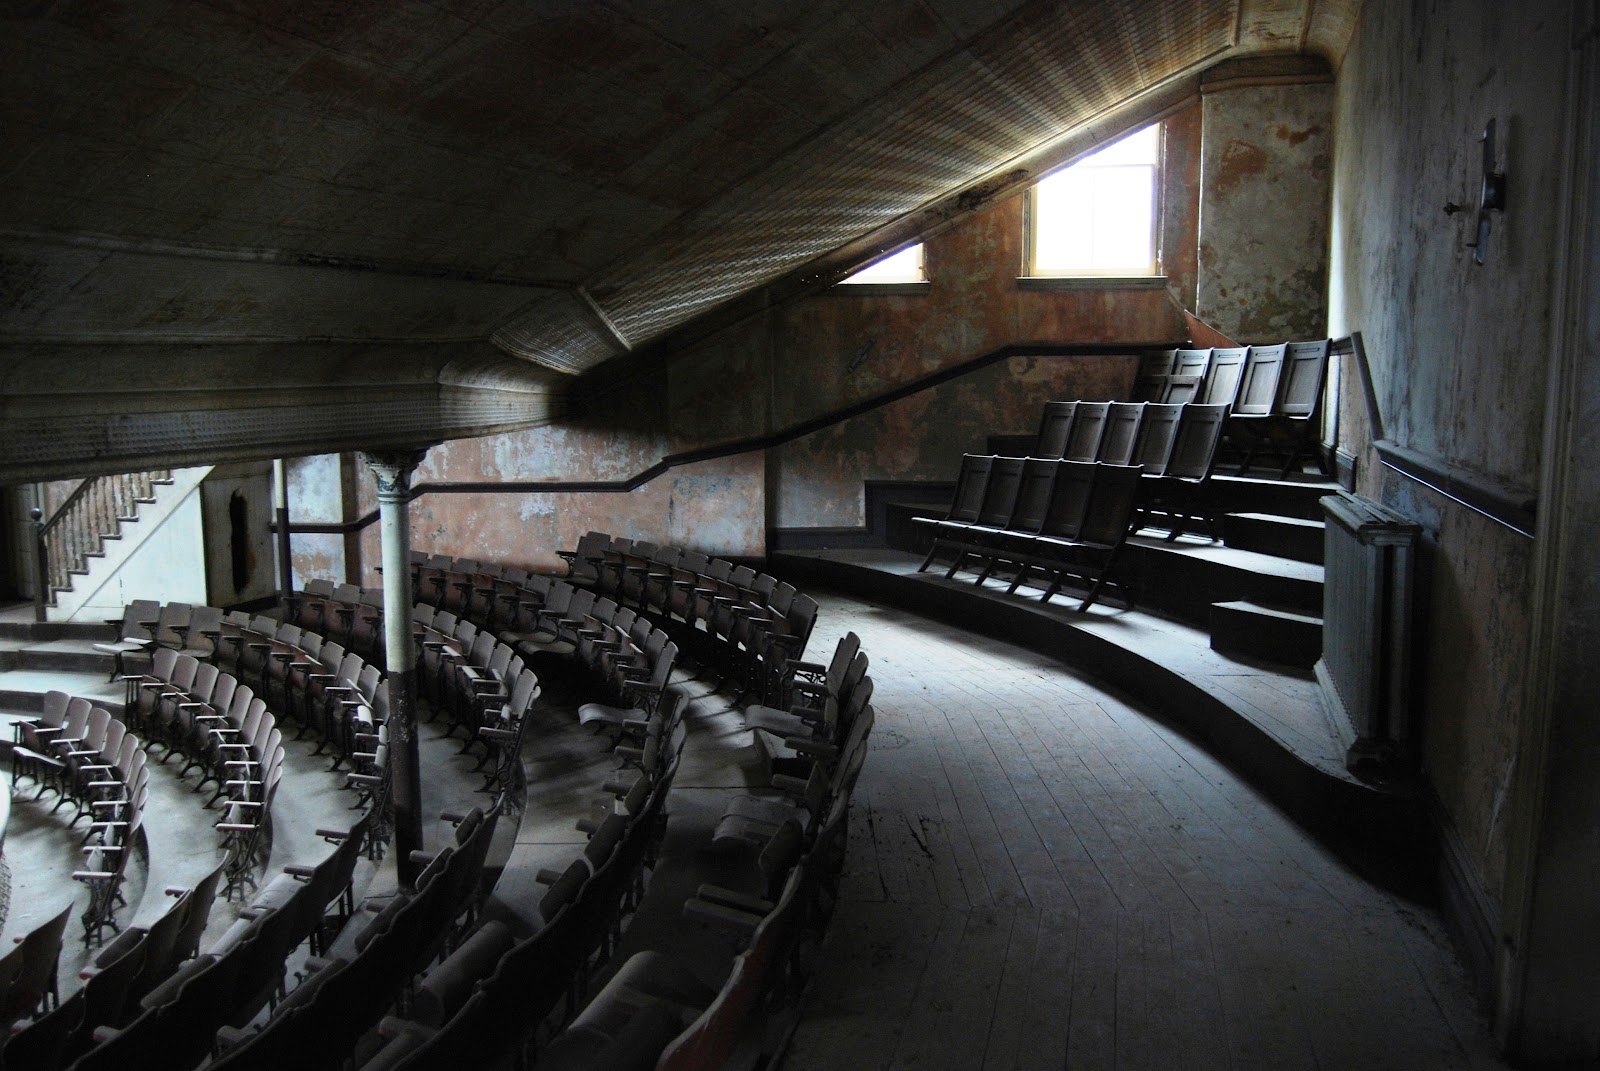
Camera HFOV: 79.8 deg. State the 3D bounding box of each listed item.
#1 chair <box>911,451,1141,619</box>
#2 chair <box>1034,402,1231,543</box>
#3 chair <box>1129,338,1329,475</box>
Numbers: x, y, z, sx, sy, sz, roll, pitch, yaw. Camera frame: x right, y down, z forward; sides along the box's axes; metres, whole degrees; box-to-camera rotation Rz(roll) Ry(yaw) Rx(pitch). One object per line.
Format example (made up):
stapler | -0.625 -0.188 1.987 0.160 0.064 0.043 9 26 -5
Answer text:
chair | 1.841 0.021 7.651 0.463 0.778 1.390 -8 9 -31
chair | 2.623 -0.468 7.431 0.466 0.711 1.055 -9 11 -26
chair | 3.469 -1.007 7.656 0.467 0.854 1.289 -7 8 -19
